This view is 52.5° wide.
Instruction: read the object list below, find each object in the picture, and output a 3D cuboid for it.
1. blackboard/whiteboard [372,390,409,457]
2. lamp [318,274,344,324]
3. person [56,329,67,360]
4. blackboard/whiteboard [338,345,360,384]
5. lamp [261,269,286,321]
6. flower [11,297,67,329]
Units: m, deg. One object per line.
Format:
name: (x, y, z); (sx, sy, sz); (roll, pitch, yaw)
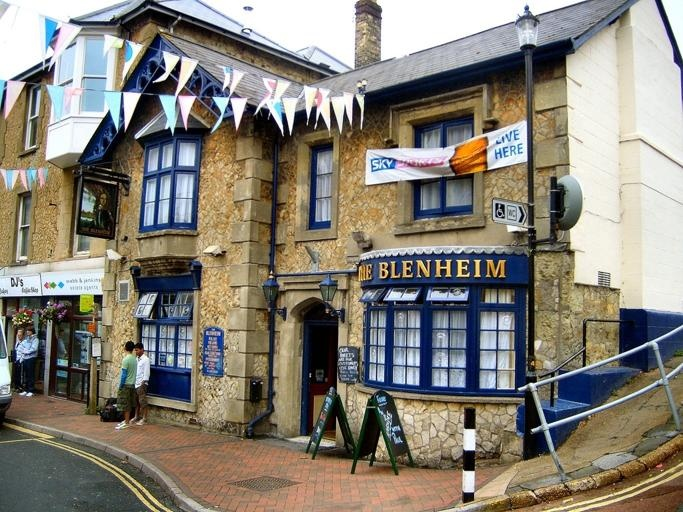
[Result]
blackboard/whiteboard: (1.022, 3.359, 13.857); (0.698, 1.345, 0.387); (-7, 5, -30)
lamp: (-0.178, 1.020, 16.378); (0.523, 1.162, 0.700); (-4, 4, 9)
person: (-9.437, 2.917, 23.444); (0.196, 0.760, 0.726); (-7, 4, -31)
blackboard/whiteboard: (0.211, 2.546, 16.115); (0.706, 1.059, 0.100); (-10, -14, 42)
lamp: (-1.687, 1.030, 17.562); (0.503, 1.221, 0.569); (-6, 4, -25)
flower: (-10.160, 2.002, 23.694); (2.350, 1.040, 1.090); (-15, -9, 35)
